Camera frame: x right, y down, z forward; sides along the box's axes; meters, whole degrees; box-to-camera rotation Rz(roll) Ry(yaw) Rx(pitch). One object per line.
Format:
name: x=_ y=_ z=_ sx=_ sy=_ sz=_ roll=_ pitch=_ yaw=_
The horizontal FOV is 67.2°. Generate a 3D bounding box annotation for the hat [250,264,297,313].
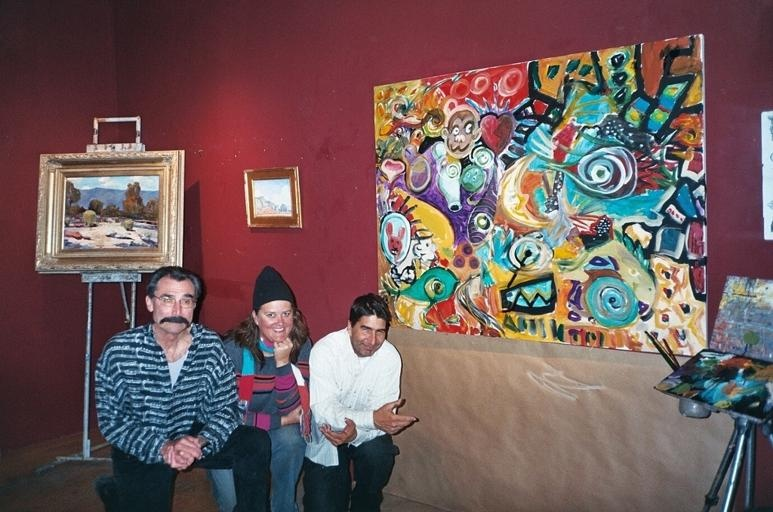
hat: x=-0.745 y=0.211 z=3.807 sx=0.219 sy=0.225 sz=0.300 roll=-8 pitch=-15 yaw=-11

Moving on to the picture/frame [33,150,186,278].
picture/frame: x=-2.051 y=-0.311 z=4.342 sx=0.935 sy=0.797 sz=0.074 roll=0 pitch=-2 yaw=1
